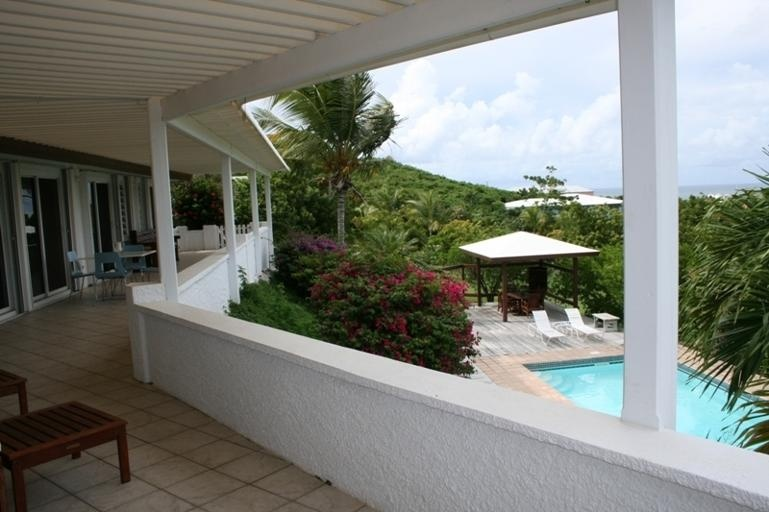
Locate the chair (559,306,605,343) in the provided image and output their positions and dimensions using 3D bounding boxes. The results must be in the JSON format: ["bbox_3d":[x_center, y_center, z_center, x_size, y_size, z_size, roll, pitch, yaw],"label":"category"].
[{"bbox_3d":[6.872,2.292,17.422,0.453,0.570,1.146,16,-6,-26],"label":"chair"}]

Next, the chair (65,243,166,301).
[{"bbox_3d":[-5.489,0.180,9.733,1.346,0.896,1.348,0,-1,-16],"label":"chair"}]

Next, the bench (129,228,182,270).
[{"bbox_3d":[-4.337,-0.101,9.295,1.059,0.790,0.700,0,-2,8],"label":"bench"}]
